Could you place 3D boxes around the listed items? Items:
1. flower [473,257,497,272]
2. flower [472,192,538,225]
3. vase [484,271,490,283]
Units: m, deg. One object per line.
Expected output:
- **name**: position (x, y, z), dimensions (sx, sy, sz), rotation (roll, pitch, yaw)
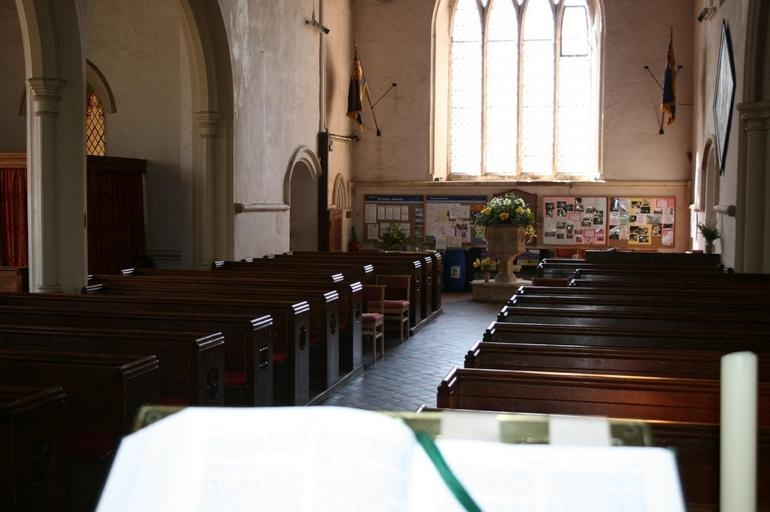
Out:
- **flower**: position (2.084, 0.177, 12.788), dimensions (0.369, 0.303, 0.410), rotation (1, -5, -3)
- **flower**: position (2.401, -0.882, 12.754), dimensions (0.884, 0.656, 0.938), rotation (1, -1, -6)
- **vase**: position (2.107, 0.414, 12.840), dimensions (0.158, 0.268, 0.164), rotation (2, 4, 8)
